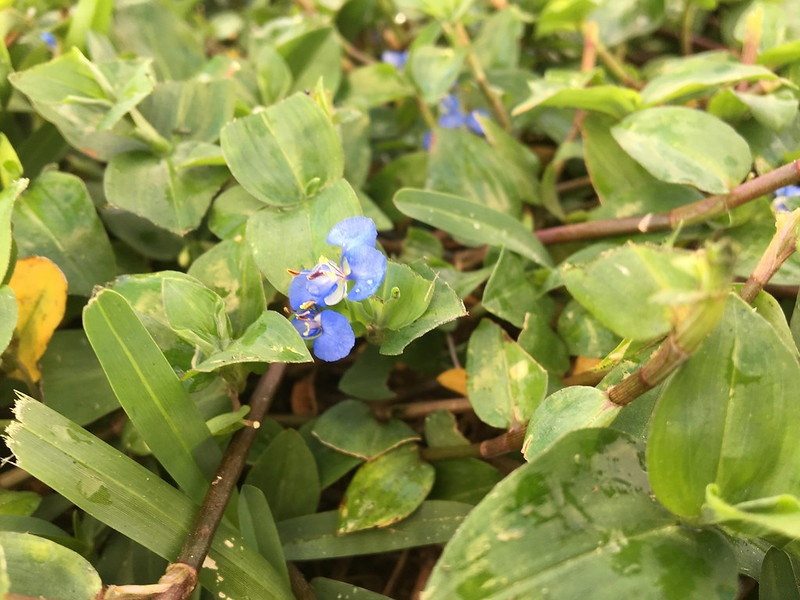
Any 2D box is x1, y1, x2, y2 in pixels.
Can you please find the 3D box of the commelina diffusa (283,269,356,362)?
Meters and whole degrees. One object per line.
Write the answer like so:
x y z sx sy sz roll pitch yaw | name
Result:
-0.095 0.042 0.914 0.068 0.047 0.103 -15 33 -12 | commelina diffusa

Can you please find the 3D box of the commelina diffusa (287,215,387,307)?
-0.074 -0.040 0.887 0.126 0.092 0.085 2 45 12 | commelina diffusa
